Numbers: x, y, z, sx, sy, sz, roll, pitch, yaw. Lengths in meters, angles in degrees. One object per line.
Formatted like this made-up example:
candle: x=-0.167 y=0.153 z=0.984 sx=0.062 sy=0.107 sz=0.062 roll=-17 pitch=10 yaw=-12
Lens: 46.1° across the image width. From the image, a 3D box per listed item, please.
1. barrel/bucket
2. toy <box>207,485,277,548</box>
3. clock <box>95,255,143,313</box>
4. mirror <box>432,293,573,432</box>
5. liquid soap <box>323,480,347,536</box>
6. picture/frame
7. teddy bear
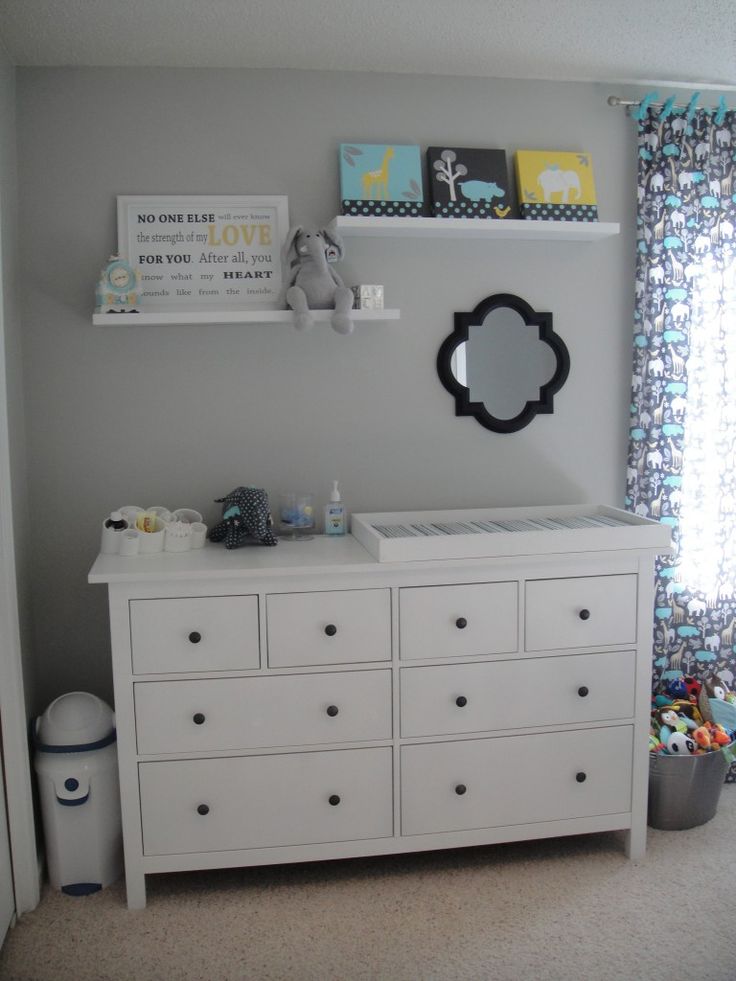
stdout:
barrel/bucket: x=0.865 y=0.779 z=2.343 sx=0.219 sy=0.181 sz=0.244 roll=-1 pitch=2 yaw=29
toy: x=-0.325 y=0.065 z=2.224 sx=0.152 sy=0.124 sz=0.160 roll=0 pitch=-2 yaw=-37
clock: x=-0.614 y=-0.510 z=2.144 sx=0.136 sy=0.198 sz=0.100 roll=-3 pitch=18 yaw=-15
mirror: x=0.359 y=-0.368 z=2.418 sx=0.388 sy=0.397 sz=0.029 roll=0 pitch=2 yaw=-12
liquid soap: x=-0.085 y=0.044 z=2.336 sx=0.062 sy=0.144 sz=0.132 roll=0 pitch=4 yaw=-2
picture/frame: x=-0.431 y=-0.606 z=2.221 sx=0.338 sy=0.240 sz=0.028 roll=-1 pitch=0 yaw=-10
teddy bear: x=-0.124 y=-0.523 z=2.181 sx=0.187 sy=0.258 sz=0.207 roll=-1 pitch=4 yaw=-4
